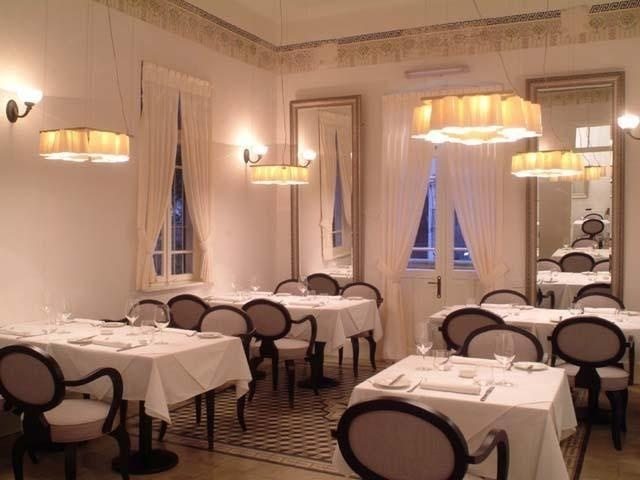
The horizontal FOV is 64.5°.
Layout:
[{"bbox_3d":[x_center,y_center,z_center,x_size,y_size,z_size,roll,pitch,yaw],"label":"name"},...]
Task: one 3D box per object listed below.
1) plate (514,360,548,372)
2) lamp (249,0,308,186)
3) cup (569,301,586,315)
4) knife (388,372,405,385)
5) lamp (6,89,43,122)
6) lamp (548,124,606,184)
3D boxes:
[{"bbox_3d":[1.573,0.942,3.761,0.258,0.031,0.137,0,2,9],"label":"plate"},{"bbox_3d":[-0.667,-2.278,7.609,1.048,2.925,1.791,-1,3,-1],"label":"lamp"},{"bbox_3d":[2.839,0.743,5.578,0.134,0.144,0.141,1,-7,0],"label":"cup"},{"bbox_3d":[0.524,0.940,3.476,0.039,0.021,0.301,0,-5,22],"label":"knife"},{"bbox_3d":[-2.948,-1.330,5.047,0.311,0.344,0.298,-3,4,-43],"label":"lamp"},{"bbox_3d":[3.436,-1.128,6.677,0.728,0.780,0.440,3,4,21],"label":"lamp"}]
